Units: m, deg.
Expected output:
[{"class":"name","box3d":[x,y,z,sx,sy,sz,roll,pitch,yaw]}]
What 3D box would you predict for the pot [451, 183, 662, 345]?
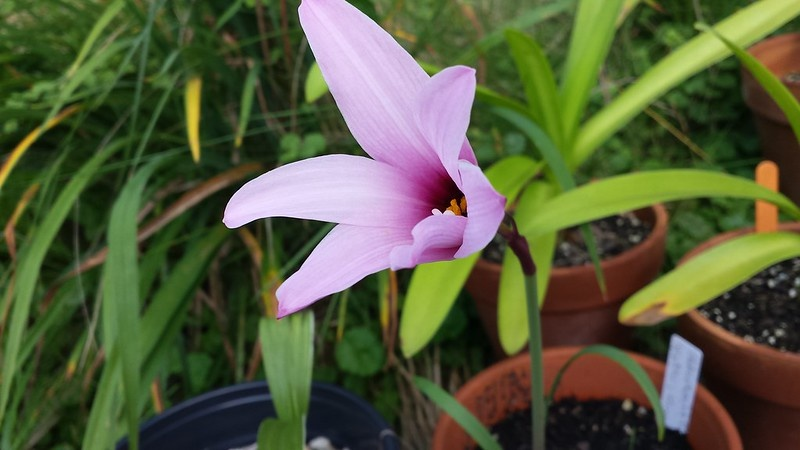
[{"class":"pot","box3d":[0.440,0.162,1.918,0.418,0.335,0.429,-7,31,4]}]
